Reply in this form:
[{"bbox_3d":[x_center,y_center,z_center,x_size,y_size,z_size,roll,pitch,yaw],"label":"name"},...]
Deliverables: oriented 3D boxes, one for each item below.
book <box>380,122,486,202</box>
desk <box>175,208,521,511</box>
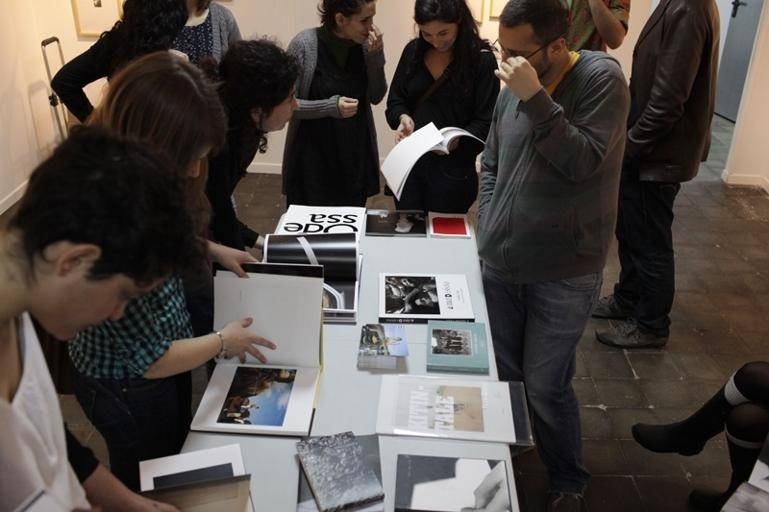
[{"bbox_3d":[0.216,-0.520,3.087,0.461,0.339,0.279,-4,17,-6],"label":"book"},{"bbox_3d":[-0.076,0.680,2.640,1.180,0.465,2.128,0,53,-1],"label":"desk"}]
